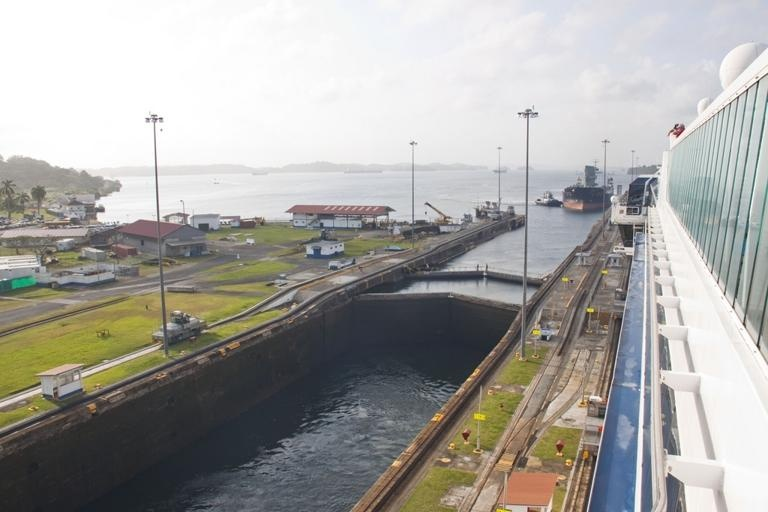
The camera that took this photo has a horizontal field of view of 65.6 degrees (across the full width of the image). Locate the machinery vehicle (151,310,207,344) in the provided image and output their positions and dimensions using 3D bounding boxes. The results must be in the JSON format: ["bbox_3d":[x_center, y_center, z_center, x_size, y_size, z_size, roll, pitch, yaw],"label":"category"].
[{"bbox_3d":[-14.630,5.197,43.714,2.109,1.486,3.213,0,2,16],"label":"machinery vehicle"}]
